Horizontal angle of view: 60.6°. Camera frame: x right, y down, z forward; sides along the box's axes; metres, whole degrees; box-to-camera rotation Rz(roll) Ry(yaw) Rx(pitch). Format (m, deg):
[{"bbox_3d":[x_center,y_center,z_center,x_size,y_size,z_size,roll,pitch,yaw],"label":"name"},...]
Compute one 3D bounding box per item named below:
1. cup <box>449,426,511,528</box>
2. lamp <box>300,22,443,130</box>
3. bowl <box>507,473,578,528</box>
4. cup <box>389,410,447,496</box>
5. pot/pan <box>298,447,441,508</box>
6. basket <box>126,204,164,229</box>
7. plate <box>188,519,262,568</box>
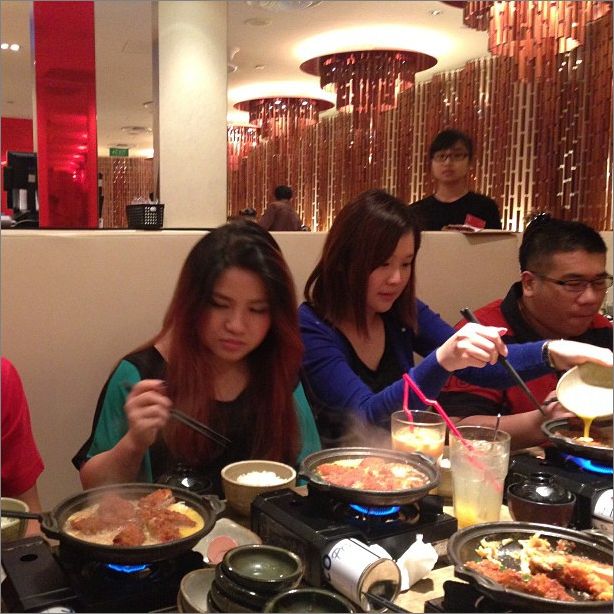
[{"bbox_3d":[0.358,0.364,1.084,0.113,0.172,0.112,3,-8,0],"label":"cup"},{"bbox_3d":[0.926,-3.315,7.909,1.844,1.030,0.691,1,9,12],"label":"lamp"},{"bbox_3d":[0.448,0.350,0.991,0.100,0.075,0.108,2,-8,0],"label":"bowl"},{"bbox_3d":[0.277,0.344,1.255,0.116,0.175,0.112,-3,8,0],"label":"cup"},{"bbox_3d":[0.128,0.310,0.968,0.152,0.030,0.125,0,6,-14],"label":"pot/pan"},{"bbox_3d":[-0.901,-0.489,2.931,0.158,0.133,0.217,-1,3,-29],"label":"basket"},{"bbox_3d":[-0.148,0.392,0.928,0.098,0.042,0.122,17,18,31],"label":"plate"}]
